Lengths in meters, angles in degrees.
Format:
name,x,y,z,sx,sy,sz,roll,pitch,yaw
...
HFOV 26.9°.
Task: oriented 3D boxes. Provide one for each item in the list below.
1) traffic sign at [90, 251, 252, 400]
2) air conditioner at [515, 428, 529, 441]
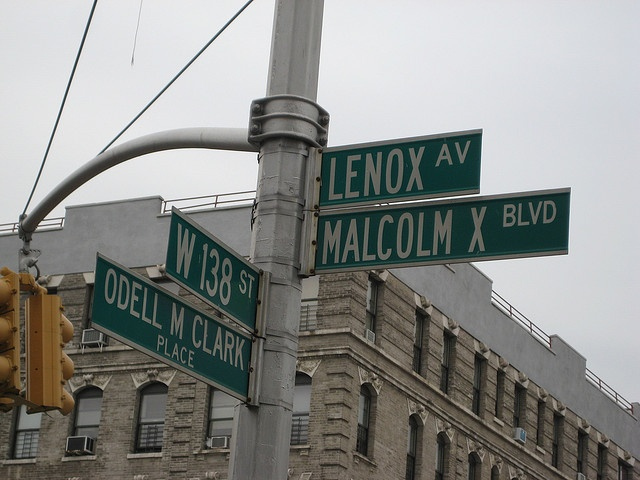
name,x,y,z,sx,sy,sz,roll,pitch,yaw
traffic sign,-2.015,1.236,18.414,2.746,1.188,0.053,30,-47,-32
air conditioner,7.247,7.113,48.251,0.322,0.598,0.661,-6,-24,24
